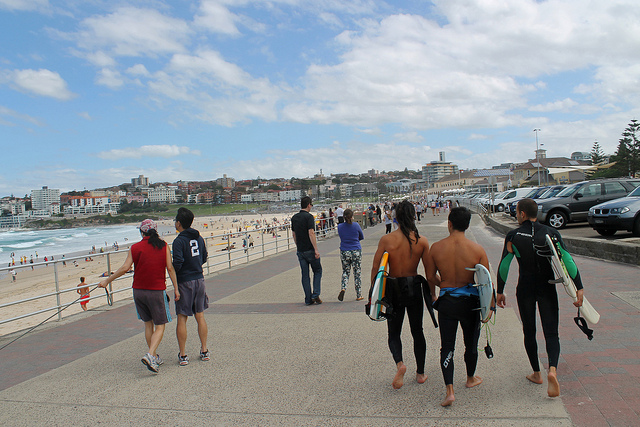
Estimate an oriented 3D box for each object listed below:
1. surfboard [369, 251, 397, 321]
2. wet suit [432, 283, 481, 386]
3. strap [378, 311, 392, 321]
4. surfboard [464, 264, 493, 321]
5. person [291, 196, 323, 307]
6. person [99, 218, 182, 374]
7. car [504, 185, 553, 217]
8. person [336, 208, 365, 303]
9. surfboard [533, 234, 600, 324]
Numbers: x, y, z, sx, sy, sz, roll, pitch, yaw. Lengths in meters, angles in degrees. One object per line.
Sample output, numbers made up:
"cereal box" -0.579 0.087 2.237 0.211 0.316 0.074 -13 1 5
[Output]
"surfboard" 0.735 0.860 4.304 0.360 0.817 0.156 -5 3 -31
"wet suit" 1.575 1.371 4.187 0.533 1.186 0.337 -4 2 -4
"strap" 0.739 1.180 4.278 0.178 0.063 0.058 16 -1 8
"surfboard" 1.737 0.853 3.986 0.137 0.496 0.307 0 -5 -18
"person" -0.310 0.826 8.426 0.596 2.440 0.791 -4 2 -6
"person" -2.430 1.148 5.332 0.641 1.880 0.604 -2 3 30
"car" 13.517 -0.917 25.192 3.328 1.420 1.686 -4 -6 32
"person" 0.711 0.954 8.778 0.640 2.145 0.857 -4 2 5
"surfboard" 2.831 0.817 4.169 0.161 1.107 0.594 -27 -9 -27
